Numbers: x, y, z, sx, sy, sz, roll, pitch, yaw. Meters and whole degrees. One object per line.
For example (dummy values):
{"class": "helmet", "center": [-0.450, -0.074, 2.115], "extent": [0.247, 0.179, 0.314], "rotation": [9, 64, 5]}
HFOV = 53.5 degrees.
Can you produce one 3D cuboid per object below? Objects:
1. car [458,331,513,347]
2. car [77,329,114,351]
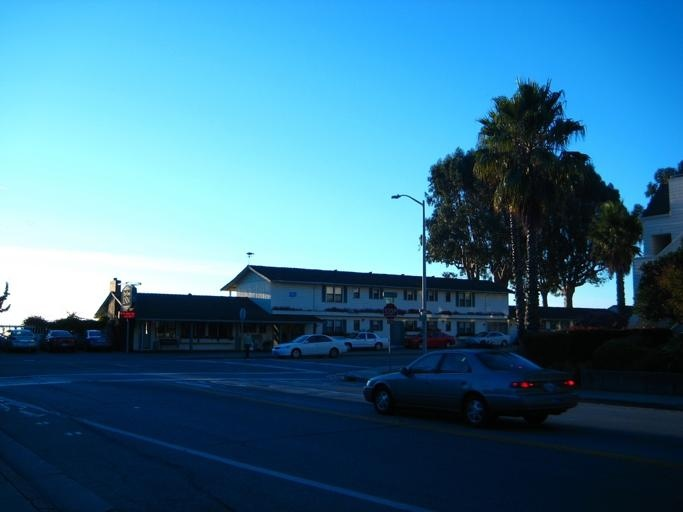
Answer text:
{"class": "car", "center": [13.088, 7.412, 60.578], "extent": [4.820, 1.184, 2.755], "rotation": [3, -5, -38]}
{"class": "car", "center": [-18.660, 6.258, 51.272], "extent": [1.527, 1.471, 3.725], "rotation": [2, 0, -23]}
